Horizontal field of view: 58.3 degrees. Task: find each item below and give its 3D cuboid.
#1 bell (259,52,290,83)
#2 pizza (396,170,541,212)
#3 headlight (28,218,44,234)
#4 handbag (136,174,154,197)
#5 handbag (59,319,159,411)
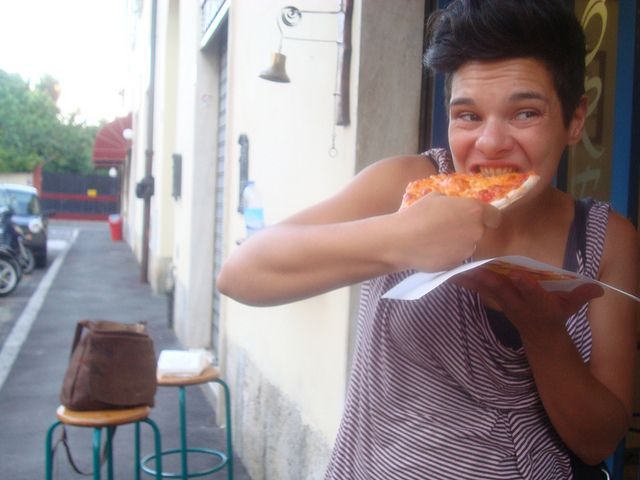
[{"bbox_3d":[-0.289,-1.185,3.962,0.212,0.170,0.234,7,6,-2],"label":"bell"},{"bbox_3d":[0.509,-0.123,1.855,0.317,0.074,0.199,-3,28,30],"label":"pizza"},{"bbox_3d":[-6.681,-0.338,13.450,0.089,0.315,0.284,6,2,40],"label":"headlight"},{"bbox_3d":[-3.958,-1.213,13.013,0.476,0.555,0.313,-2,10,-20],"label":"handbag"},{"bbox_3d":[-1.390,0.828,3.833,0.613,0.616,0.475,8,-4,-38],"label":"handbag"}]
